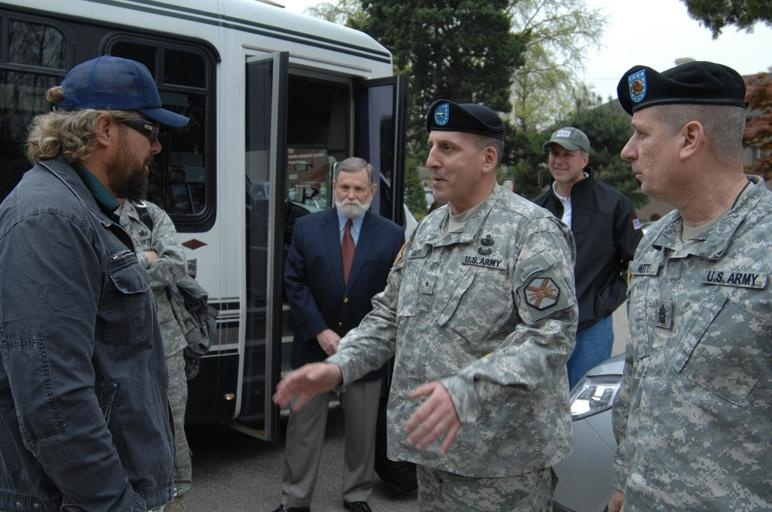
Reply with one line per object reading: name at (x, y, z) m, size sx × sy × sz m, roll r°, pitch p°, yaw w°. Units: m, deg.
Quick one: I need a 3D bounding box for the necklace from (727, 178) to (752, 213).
necklace at (1.258, -0.227, 2.247) m, size 0.028 × 0.120 × 0.083 m, roll 26°, pitch -3°, yaw -1°

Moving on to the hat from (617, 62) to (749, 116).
hat at (1.134, -0.636, 2.387) m, size 0.469 × 0.150 × 0.375 m, roll -2°, pitch 6°, yaw -20°

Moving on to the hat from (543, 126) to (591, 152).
hat at (1.468, -0.898, 4.919) m, size 0.317 × 0.162 × 0.212 m, roll 22°, pitch -3°, yaw -43°

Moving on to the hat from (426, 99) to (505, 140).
hat at (0.405, -0.657, 3.079) m, size 0.420 × 0.148 × 0.372 m, roll 5°, pitch 6°, yaw -31°

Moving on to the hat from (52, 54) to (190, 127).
hat at (-1.083, -0.657, 2.648) m, size 0.513 × 0.292 × 0.320 m, roll -4°, pitch 0°, yaw -26°
